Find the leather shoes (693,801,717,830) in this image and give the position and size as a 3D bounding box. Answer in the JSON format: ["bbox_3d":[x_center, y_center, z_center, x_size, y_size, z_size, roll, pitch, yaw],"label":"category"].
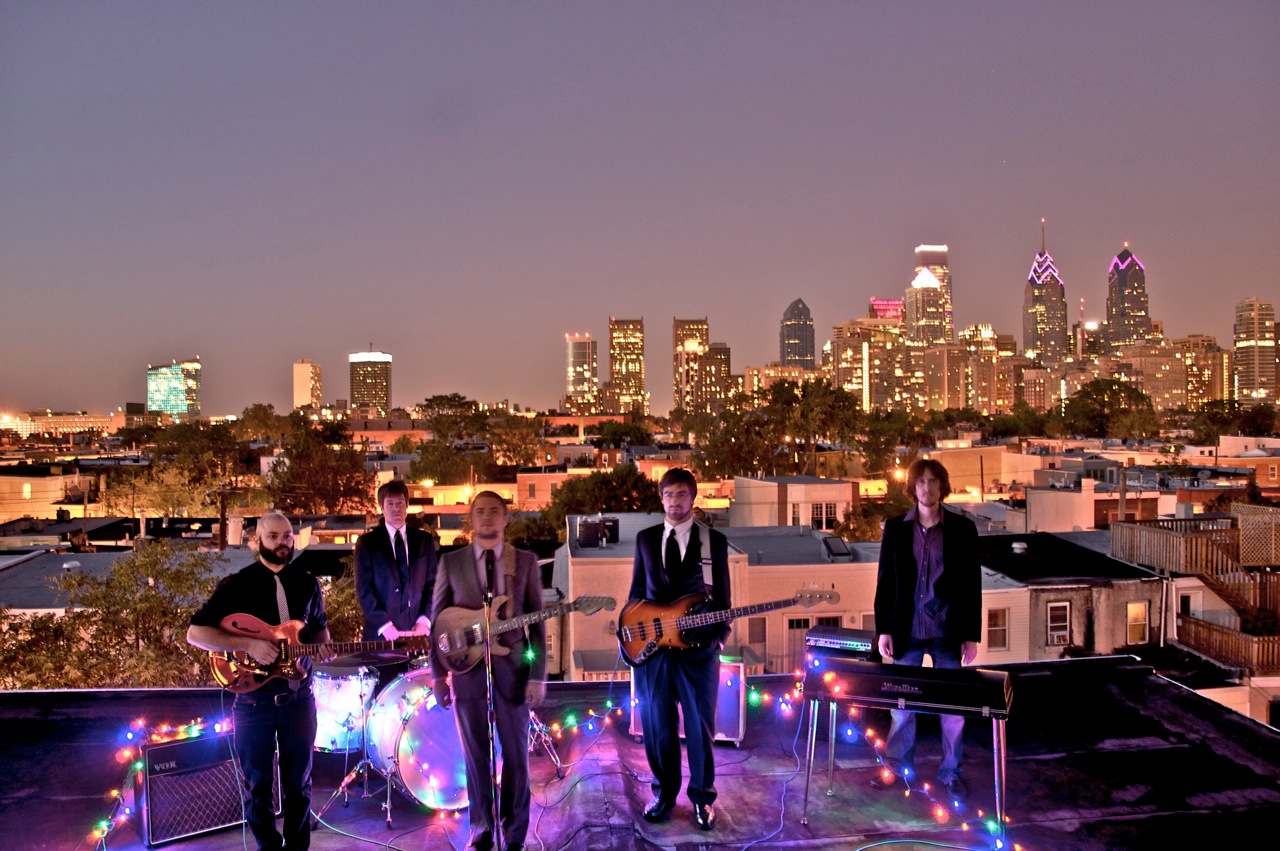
[{"bbox_3d":[0.676,4.110,12.868,0.218,0.288,0.182,2,1,4],"label":"leather shoes"}]

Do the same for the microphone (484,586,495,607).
[{"bbox_3d":[-1.606,1.797,12.833,0.122,0.173,0.052,1,44,-9],"label":"microphone"}]

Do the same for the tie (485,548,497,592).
[{"bbox_3d":[-1.598,1.559,12.935,0.185,0.370,0.052,-2,-1,7],"label":"tie"}]
